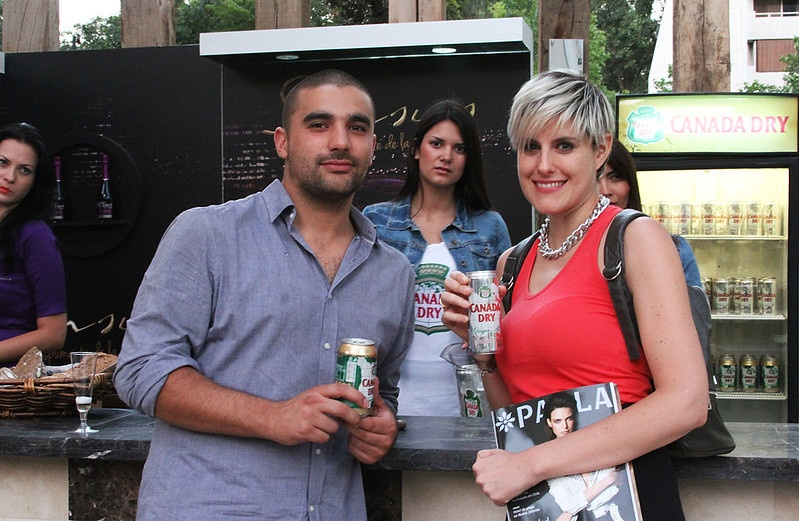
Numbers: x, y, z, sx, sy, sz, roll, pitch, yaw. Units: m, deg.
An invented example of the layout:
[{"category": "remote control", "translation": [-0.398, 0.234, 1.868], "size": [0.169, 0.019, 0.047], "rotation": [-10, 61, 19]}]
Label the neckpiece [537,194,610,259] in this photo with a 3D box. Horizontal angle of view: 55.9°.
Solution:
[{"category": "neckpiece", "translation": [0.661, -0.119, 2.891], "size": [0.066, 0.273, 0.235], "rotation": [20, 19, -32]}]

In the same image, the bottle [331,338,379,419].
[{"category": "bottle", "translation": [-0.166, 0.419, 2.791], "size": [0.152, 0.262, 0.124], "rotation": [0, 8, 11]}]

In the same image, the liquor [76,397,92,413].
[{"category": "liquor", "translation": [-1.383, 0.629, 3.307], "size": [0.069, 0.050, 0.060], "rotation": [-1, 2, -22]}]
